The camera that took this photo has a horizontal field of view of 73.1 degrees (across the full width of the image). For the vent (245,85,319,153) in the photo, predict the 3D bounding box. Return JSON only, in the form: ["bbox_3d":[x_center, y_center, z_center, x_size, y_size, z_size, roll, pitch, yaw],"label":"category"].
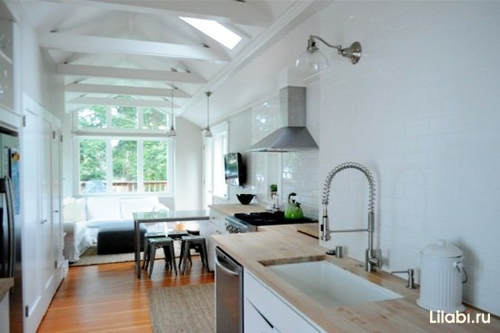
[{"bbox_3d":[0.555,-0.594,4.284,0.753,0.734,0.882,6,10,35],"label":"vent"}]

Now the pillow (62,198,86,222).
[{"bbox_3d":[-3.987,0.981,7.656,0.340,0.535,0.991,-1,4,-7],"label":"pillow"}]

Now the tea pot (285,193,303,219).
[{"bbox_3d":[0.529,0.480,4.203,0.220,0.310,0.319,-4,1,-23],"label":"tea pot"}]

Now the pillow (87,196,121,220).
[{"bbox_3d":[-3.592,1.002,8.234,0.808,0.523,0.573,7,-21,-31],"label":"pillow"}]

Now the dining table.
[{"bbox_3d":[-1.218,1.214,5.471,1.202,0.778,0.649,-1,-8,-20],"label":"dining table"}]

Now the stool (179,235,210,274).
[{"bbox_3d":[-0.968,1.389,5.575,0.581,0.596,0.558,-1,1,-20],"label":"stool"}]

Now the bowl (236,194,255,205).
[{"bbox_3d":[-0.108,0.548,5.736,0.214,0.093,0.209,1,-9,0],"label":"bowl"}]

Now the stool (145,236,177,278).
[{"bbox_3d":[-1.407,1.407,5.469,0.617,0.610,0.557,-1,2,-22],"label":"stool"}]
